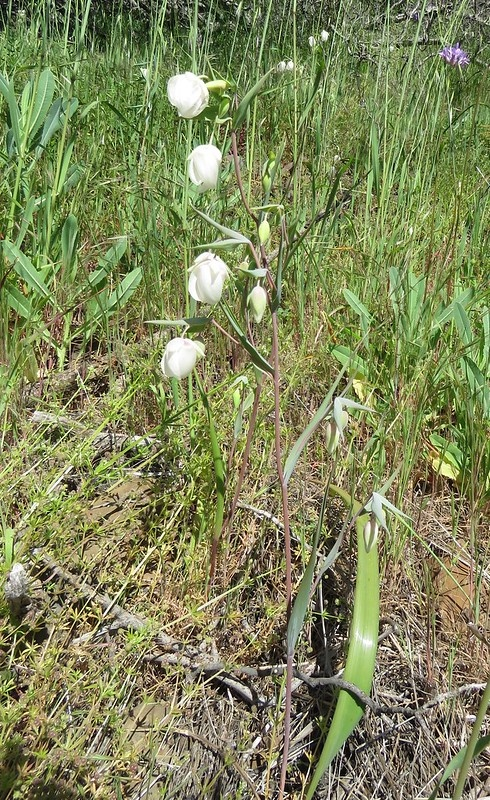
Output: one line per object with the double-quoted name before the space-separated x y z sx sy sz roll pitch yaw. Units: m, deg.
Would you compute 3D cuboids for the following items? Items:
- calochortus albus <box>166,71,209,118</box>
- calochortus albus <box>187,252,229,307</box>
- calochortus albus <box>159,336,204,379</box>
"calochortus albus" -0.088 -0.447 0.926 0.051 0.066 0.063 0 -2 7
"calochortus albus" -0.054 -0.177 0.914 0.058 0.083 0.090 11 30 4
"calochortus albus" -0.100 -0.067 0.977 0.060 0.062 0.069 7 70 -29
